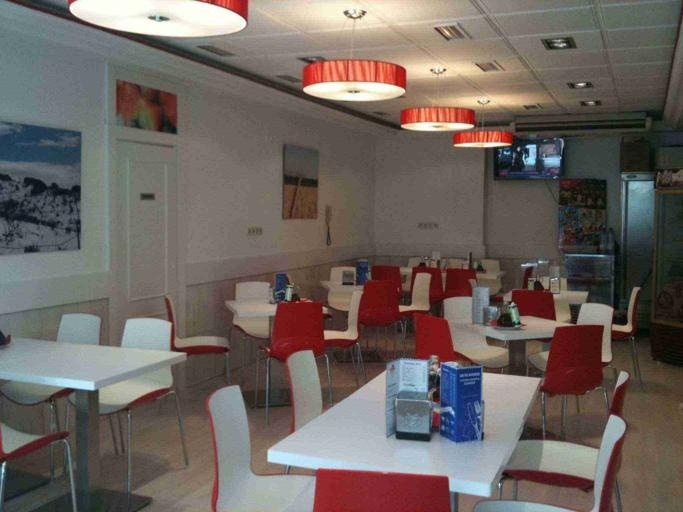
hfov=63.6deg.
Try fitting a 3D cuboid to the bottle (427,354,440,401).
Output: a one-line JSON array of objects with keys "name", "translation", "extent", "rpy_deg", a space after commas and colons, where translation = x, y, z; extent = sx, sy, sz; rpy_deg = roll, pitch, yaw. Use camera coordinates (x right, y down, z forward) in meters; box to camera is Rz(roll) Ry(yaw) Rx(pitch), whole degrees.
[{"name": "bottle", "translation": [0.503, 0.651, 2.961], "extent": [0.051, 0.204, 0.184], "rpy_deg": [0, 4, 11]}]

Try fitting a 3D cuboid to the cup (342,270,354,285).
[{"name": "cup", "translation": [0.086, 0.332, 7.911], "extent": [0.183, 0.192, 0.175], "rpy_deg": [0, 1, 0]}]

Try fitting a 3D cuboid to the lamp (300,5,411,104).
[{"name": "lamp", "translation": [0.113, -1.755, 4.799], "extent": [0.874, 0.672, 0.748], "rpy_deg": [-1, 4, -3]}]

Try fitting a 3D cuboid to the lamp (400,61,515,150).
[{"name": "lamp", "translation": [1.310, -1.823, 6.967], "extent": [0.816, 0.274, 1.402], "rpy_deg": [2, -1, -4]}]
